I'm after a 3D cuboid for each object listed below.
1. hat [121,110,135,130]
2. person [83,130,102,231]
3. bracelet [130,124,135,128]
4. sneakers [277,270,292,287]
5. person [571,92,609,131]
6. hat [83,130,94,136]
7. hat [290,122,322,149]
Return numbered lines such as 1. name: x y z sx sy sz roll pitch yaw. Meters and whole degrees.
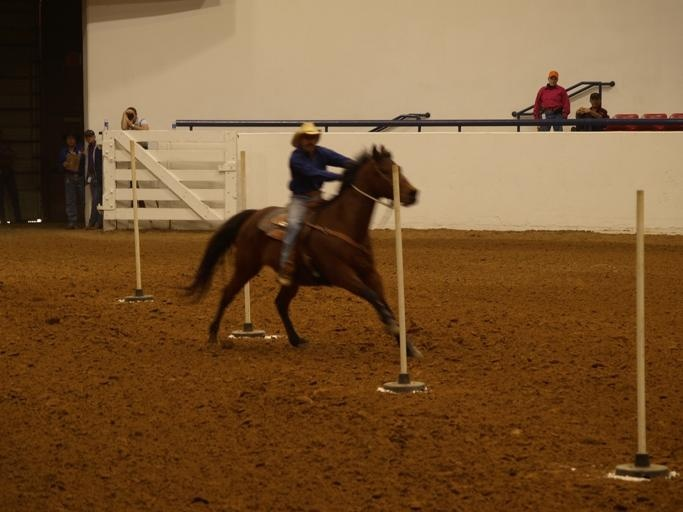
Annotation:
1. hat: -5.112 -3.263 23.341 0.193 0.415 0.445 1 -10 -34
2. person: -5.977 -1.832 23.706 0.354 2.386 1.298 -3 14 -18
3. bracelet: -4.972 -3.108 23.313 0.057 0.109 0.144 13 17 41
4. sneakers: -0.715 0.297 12.628 0.185 0.160 0.176 -1 6 -28
5. person: 5.971 -3.445 23.250 0.761 0.855 2.333 4 13 13
6. hat: -6.096 -2.983 23.625 0.204 0.193 0.249 -2 -11 -7
7. hat: -0.477 -1.622 12.645 0.391 0.200 0.464 3 -19 -14
